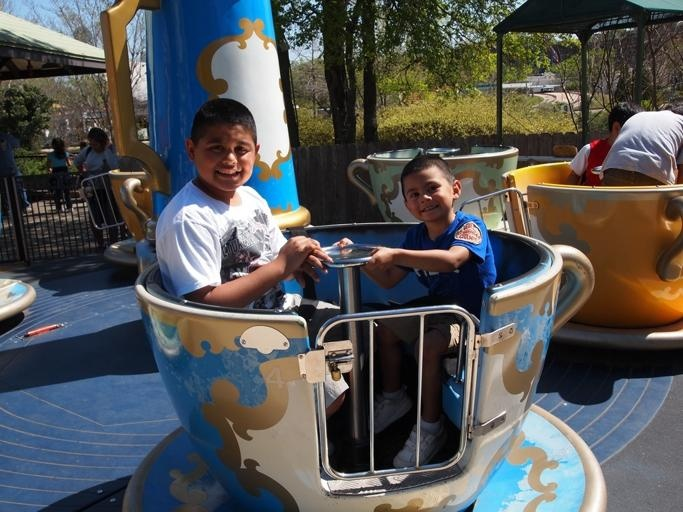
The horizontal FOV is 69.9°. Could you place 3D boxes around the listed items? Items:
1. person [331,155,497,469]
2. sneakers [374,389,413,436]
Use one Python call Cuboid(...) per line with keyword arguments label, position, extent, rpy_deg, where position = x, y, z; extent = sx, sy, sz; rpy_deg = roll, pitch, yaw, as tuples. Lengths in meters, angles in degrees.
Cuboid(label="person", position=(0.319, 0.155, 1.879), extent=(0.452, 1.115, 0.644), rpy_deg=(2, 1, 34))
Cuboid(label="sneakers", position=(0.158, 0.594, 1.854), extent=(0.215, 0.101, 0.084), rpy_deg=(-26, -5, -31))
